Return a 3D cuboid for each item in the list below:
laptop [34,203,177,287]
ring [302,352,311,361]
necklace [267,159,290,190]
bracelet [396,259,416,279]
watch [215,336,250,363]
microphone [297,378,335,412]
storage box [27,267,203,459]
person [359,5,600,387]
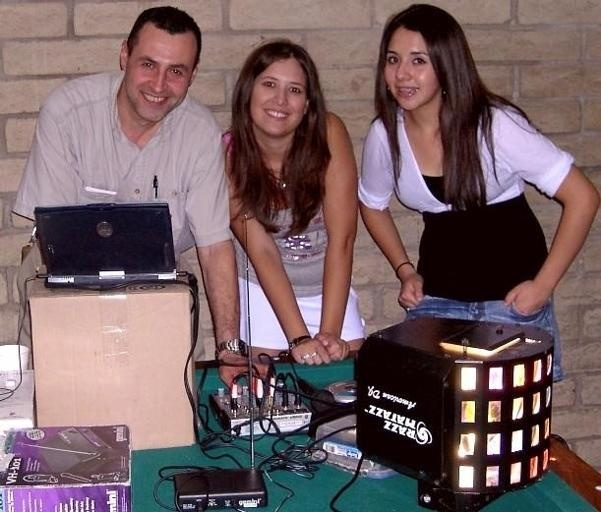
[{"bbox_3d":[-0.477,-0.030,1.796,0.342,0.234,0.215,-1,28,0],"label":"laptop"},{"bbox_3d":[0.020,0.319,2.266,0.027,0.024,0.011,-1,-3,-23],"label":"ring"},{"bbox_3d":[-0.085,-0.300,2.677,0.078,0.102,0.033,-22,-2,-27],"label":"necklace"},{"bbox_3d":[0.407,0.058,2.770,0.059,0.037,0.080,-22,25,28],"label":"bracelet"},{"bbox_3d":[-0.208,0.292,2.213,0.088,0.056,0.087,9,-15,-39],"label":"watch"},{"bbox_3d":[0.044,0.375,1.918,0.100,0.043,0.095,37,1,36],"label":"microphone"},{"bbox_3d":[-0.461,0.260,1.947,0.415,0.394,0.402,-1,15,-7],"label":"storage box"},{"bbox_3d":[0.596,-0.280,2.558,0.868,1.193,0.362,0,9,20],"label":"person"}]
